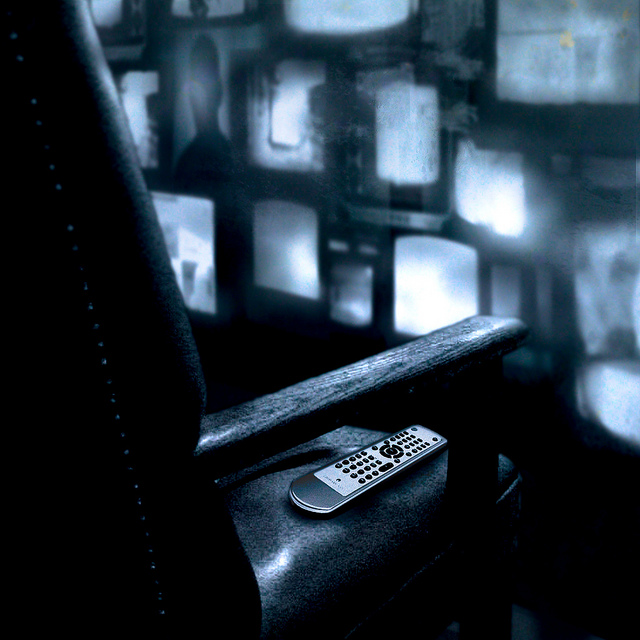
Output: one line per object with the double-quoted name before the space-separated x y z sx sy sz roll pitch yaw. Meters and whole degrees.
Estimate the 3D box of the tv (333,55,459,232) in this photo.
"tv" 0.155 -0.276 1.291 0.175 0.353 0.250 2 -23 2

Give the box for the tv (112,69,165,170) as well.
"tv" -0.365 -0.389 1.339 0.134 0.273 0.023 -2 -16 -11

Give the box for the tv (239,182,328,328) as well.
"tv" -0.069 -0.121 1.330 0.163 0.262 0.002 9 35 13

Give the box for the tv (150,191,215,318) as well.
"tv" -0.284 -0.134 1.361 0.021 0.274 0.184 0 0 40

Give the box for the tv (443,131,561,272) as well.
"tv" 0.286 -0.212 1.108 0.050 0.233 0.209 -40 35 -22

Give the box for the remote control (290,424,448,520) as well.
"remote control" 0.063 0.154 0.737 0.213 0.031 0.070 -23 31 -32
